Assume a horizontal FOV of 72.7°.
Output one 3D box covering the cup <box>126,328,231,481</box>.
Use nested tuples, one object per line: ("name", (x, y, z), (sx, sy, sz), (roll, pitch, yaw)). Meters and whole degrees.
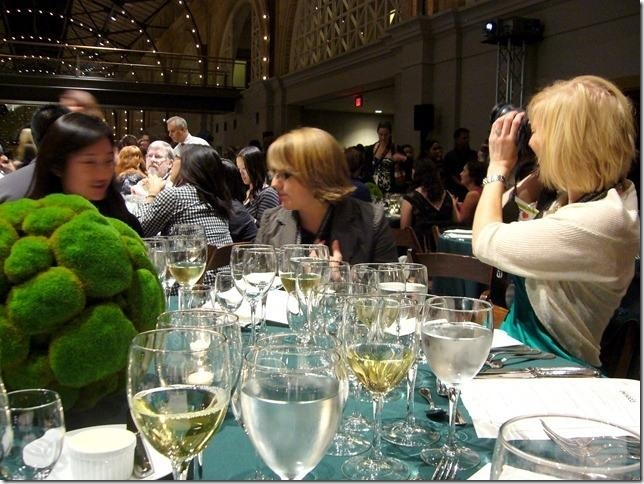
("cup", (-0.189, 0.235, 0.590), (0.131, 0.234, 0.101), (0, 8, -7))

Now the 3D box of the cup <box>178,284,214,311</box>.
("cup", (-0.339, 0.139, 1.176), (0.068, 0.077, 0.070), (1, 2, 0))

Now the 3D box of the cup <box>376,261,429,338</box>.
("cup", (0.204, 0.120, 1.078), (0.105, 0.196, 0.120), (0, -7, -3))

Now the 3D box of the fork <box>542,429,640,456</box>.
("fork", (0.252, 0.189, 0.410), (0.077, 0.014, 0.014), (-5, -38, 29))

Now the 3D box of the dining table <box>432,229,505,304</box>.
("dining table", (1.160, 0.203, 3.481), (0.472, 0.570, 0.536), (4, 11, 20))

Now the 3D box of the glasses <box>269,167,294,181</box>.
("glasses", (-0.238, -0.372, 2.372), (0.087, 0.066, 0.244), (-3, 10, -22))

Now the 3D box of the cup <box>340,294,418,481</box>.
("cup", (0.099, 0.238, 0.770), (0.129, 0.280, 0.233), (1, 8, 2))

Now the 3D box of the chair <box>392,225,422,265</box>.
("chair", (0.656, 0.004, 3.338), (0.178, 0.370, 0.237), (12, 26, 40))

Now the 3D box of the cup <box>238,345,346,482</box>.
("cup", (-0.022, 0.193, 0.586), (0.131, 0.232, 0.150), (1, -4, 13))

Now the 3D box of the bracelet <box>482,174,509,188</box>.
("bracelet", (0.718, -0.275, 1.829), (0.071, 0.054, 0.069), (-14, 26, -23))

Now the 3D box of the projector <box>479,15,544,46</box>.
("projector", (3.147, -3.514, 7.224), (0.929, 0.431, 0.412), (6, 10, 28))

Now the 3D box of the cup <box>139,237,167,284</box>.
("cup", (-0.541, 0.059, 1.390), (0.093, 0.128, 0.101), (-2, -3, 0))

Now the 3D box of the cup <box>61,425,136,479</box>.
("cup", (-0.318, 0.276, 0.631), (0.073, 0.054, 0.081), (1, -3, -7))
